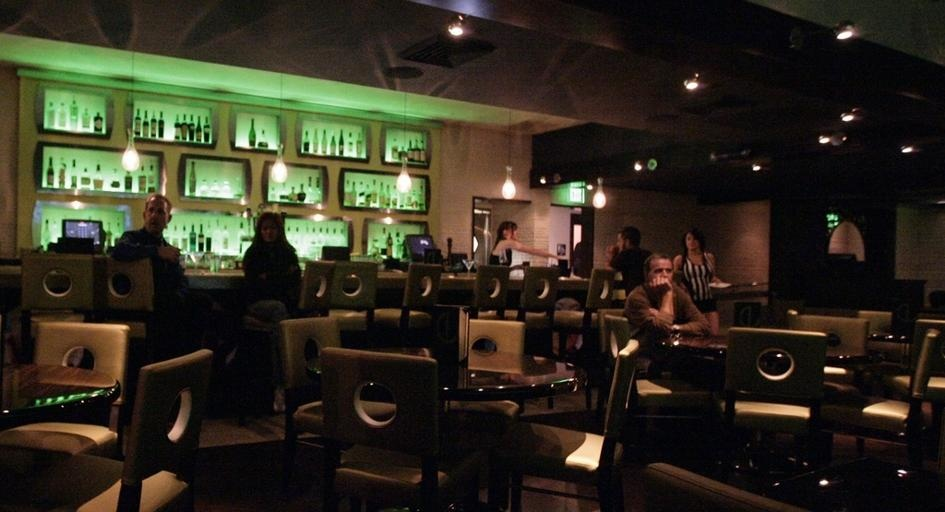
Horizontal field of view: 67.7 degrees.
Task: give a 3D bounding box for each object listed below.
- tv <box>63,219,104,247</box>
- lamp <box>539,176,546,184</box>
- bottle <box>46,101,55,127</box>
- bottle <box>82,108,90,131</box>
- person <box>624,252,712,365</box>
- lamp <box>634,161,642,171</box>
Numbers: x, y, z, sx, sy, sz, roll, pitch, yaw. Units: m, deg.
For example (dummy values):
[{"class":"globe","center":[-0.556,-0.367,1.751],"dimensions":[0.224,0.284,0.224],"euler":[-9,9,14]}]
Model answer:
[{"class":"tv","center":[-4.873,-0.277,8.791],"dimensions":[0.433,0.325,0.204],"euler":[2,-22,-15]},{"class":"lamp","center":[1.233,-1.340,12.401],"dimensions":[0.064,0.126,0.176],"euler":[3,0,-31]},{"class":"bottle","center":[-5.882,-1.966,9.793],"dimensions":[0.052,0.284,0.114],"euler":[4,1,35]},{"class":"bottle","center":[-5.467,-1.941,9.946],"dimensions":[0.134,0.238,0.042],"euler":[3,1,-12]},{"class":"person","center":[2.077,0.714,7.728],"dimensions":[0.782,1.283,0.883],"euler":[-10,13,-26]},{"class":"lamp","center":[2.525,-1.375,10.754],"dimensions":[0.049,0.150,0.120],"euler":[3,0,-45]}]
